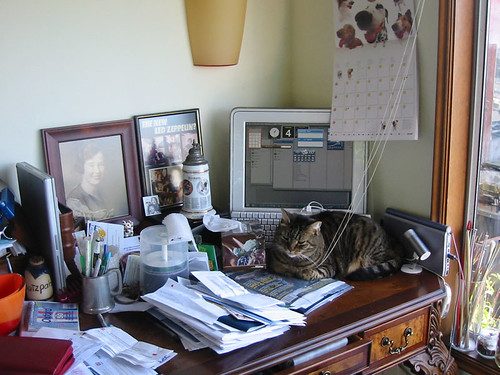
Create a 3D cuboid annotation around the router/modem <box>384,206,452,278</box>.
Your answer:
[{"bbox_3d":[0.613,0.182,1.258,0.067,0.204,0.287,-5,18,-29],"label":"router/modem"}]

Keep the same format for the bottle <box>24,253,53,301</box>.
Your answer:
[{"bbox_3d":[-0.643,0.292,1.086,0.072,0.122,0.072,-2,4,0],"label":"bottle"}]

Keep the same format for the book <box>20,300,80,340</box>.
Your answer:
[{"bbox_3d":[-0.567,0.369,1.005,0.100,0.024,0.098,5,25,-15],"label":"book"}]

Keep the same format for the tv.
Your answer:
[{"bbox_3d":[0.186,-0.102,1.476,0.688,0.494,0.380,0,3,1],"label":"tv"}]

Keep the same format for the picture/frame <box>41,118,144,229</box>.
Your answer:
[{"bbox_3d":[-0.589,-0.061,1.300,0.374,0.467,0.025,-8,6,-33],"label":"picture/frame"}]

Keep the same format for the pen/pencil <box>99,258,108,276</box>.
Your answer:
[{"bbox_3d":[-0.429,0.232,1.039,0.014,0.069,0.017,14,8,8],"label":"pen/pencil"}]

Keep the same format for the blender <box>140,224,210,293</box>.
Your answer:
[{"bbox_3d":[-0.242,0.269,1.152,0.226,0.228,0.146,4,3,10],"label":"blender"}]

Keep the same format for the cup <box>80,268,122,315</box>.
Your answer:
[{"bbox_3d":[-0.447,0.306,1.078,0.124,0.113,0.086,-6,14,-35],"label":"cup"}]

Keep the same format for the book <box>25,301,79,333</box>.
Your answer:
[{"bbox_3d":[-0.566,0.369,1.017,0.090,0.022,0.093,5,19,-15],"label":"book"}]

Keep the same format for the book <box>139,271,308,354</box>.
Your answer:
[{"bbox_3d":[-0.068,0.338,1.005,0.398,0.121,0.254,3,12,33],"label":"book"}]

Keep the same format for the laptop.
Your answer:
[{"bbox_3d":[-0.650,0.141,1.095,0.029,0.393,0.335,-14,22,-35],"label":"laptop"}]
